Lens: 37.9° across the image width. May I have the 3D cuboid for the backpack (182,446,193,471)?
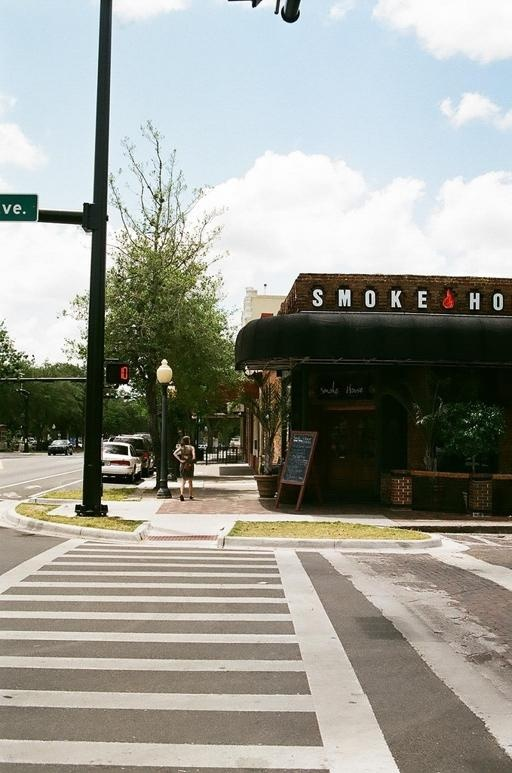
[{"bbox_3d":[-1.730,1.895,19.229,0.254,0.682,0.473,1,-4,-6],"label":"backpack"}]

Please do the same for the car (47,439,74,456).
[{"bbox_3d":[-19.241,6.464,74.185,1.386,1.323,3.668,1,5,-2],"label":"car"}]

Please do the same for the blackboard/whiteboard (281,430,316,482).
[{"bbox_3d":[0.991,1.619,16.615,0.459,1.171,0.830,4,-5,-41],"label":"blackboard/whiteboard"}]

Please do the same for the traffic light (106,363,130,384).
[{"bbox_3d":[-2.858,-0.272,15.464,0.446,0.478,0.514,2,-4,-15],"label":"traffic light"}]
